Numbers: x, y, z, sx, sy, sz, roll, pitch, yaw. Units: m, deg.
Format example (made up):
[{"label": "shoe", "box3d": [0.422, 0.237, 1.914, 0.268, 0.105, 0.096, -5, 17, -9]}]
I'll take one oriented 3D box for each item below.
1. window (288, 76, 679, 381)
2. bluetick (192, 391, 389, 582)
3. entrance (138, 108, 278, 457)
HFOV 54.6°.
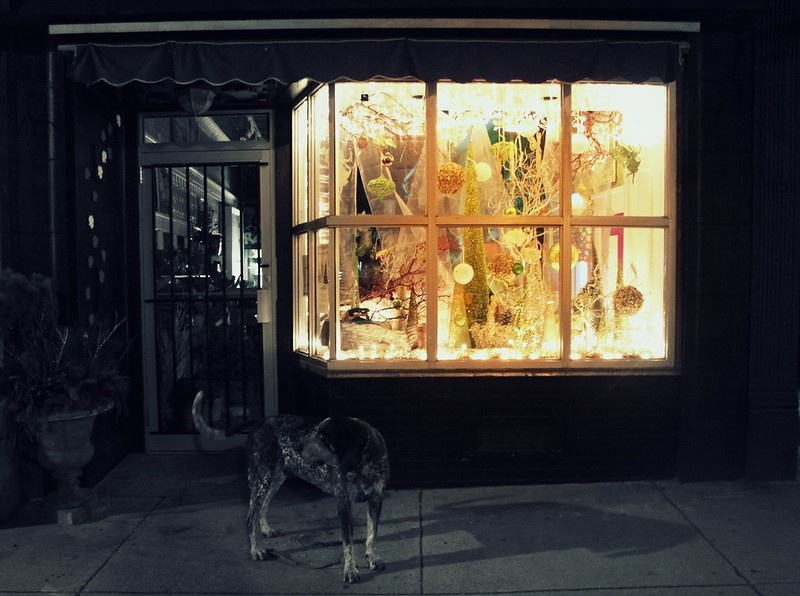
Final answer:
[{"label": "window", "box3d": [0.939, -0.748, 8.472, 4.307, 3.243, 2.452, 1, 4, -2]}, {"label": "bluetick", "box3d": [-0.664, 1.499, 6.073, 1.136, 1.186, 0.472, 4, 14, 20]}, {"label": "entrance", "box3d": [-2.075, 0.059, 8.205, 1.390, 3.360, 0.327, -1, 12, -13]}]
